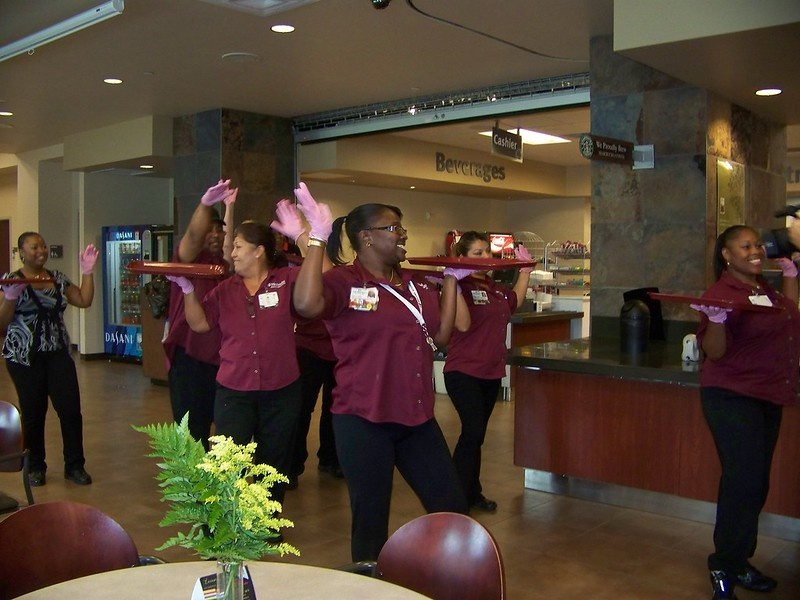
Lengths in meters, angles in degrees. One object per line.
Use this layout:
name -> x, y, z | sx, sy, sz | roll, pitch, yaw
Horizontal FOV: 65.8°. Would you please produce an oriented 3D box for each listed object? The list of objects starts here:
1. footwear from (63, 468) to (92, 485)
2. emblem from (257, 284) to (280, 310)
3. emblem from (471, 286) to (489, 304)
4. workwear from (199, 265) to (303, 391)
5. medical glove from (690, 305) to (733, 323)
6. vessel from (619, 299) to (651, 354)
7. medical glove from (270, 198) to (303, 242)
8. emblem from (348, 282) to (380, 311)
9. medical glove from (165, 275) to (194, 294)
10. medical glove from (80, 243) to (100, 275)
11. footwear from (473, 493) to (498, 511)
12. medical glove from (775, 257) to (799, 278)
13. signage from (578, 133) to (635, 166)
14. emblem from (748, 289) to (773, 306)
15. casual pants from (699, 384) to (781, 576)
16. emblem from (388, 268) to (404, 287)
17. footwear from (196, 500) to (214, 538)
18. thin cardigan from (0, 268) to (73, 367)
footwear -> -2.678, 1.459, 5.173 | 0.271, 0.107, 0.100 | 0, -2, 37
emblem -> -0.740, -0.013, 3.511 | 0.140, 0.133, 0.037 | -4, -1, -2
emblem -> 0.546, -0.029, 4.268 | 0.127, 0.089, 0.014 | 3, -22, -29
workwear -> -0.847, 0.147, 3.543 | 0.782, 0.845, 0.465 | 0, -12, -8
medical glove -> 1.567, 0.065, 3.125 | 0.160, 0.059, 0.125 | 10, 6, 44
vessel -> 1.790, 0.208, 4.774 | 0.201, 0.402, 0.277 | 2, 5, 40
medical glove -> -0.508, -0.380, 2.857 | 0.156, 0.183, 0.051 | -17, -14, 2
emblem -> -0.154, -0.009, 2.598 | 0.112, 0.110, 0.034 | 0, -7, 6
medical glove -> -1.260, -0.088, 3.597 | 0.127, 0.102, 0.269 | -2, 4, -19
medical glove -> -2.667, -0.347, 5.324 | 0.122, 0.273, 0.659 | -2, 4, -27
footwear -> 0.624, 1.500, 4.603 | 0.215, 0.150, 0.077 | -1, -2, 13
medical glove -> 2.395, -0.203, 3.830 | 0.082, 0.144, 0.130 | -14, -1, 43
signage -> 1.784, -1.316, 5.372 | 0.201, 0.245, 0.691 | 3, 5, 45
emblem -> 1.864, -0.010, 3.213 | 0.095, 0.013, 0.067 | 15, 45, 3
casual pants -> 1.785, 0.943, 3.245 | 0.377, 0.966, 0.252 | 1, 4, 19
emblem -> -0.016, -0.097, 2.791 | 0.063, 0.069, 0.079 | -1, 31, -1
footwear -> -0.442, 0.504, 1.431 | 0.030, 0.097, 0.016 | 1, 37, 10
thin cardigan -> -2.966, 0.151, 5.056 | 0.457, 0.739, 0.325 | -1, 4, -10
